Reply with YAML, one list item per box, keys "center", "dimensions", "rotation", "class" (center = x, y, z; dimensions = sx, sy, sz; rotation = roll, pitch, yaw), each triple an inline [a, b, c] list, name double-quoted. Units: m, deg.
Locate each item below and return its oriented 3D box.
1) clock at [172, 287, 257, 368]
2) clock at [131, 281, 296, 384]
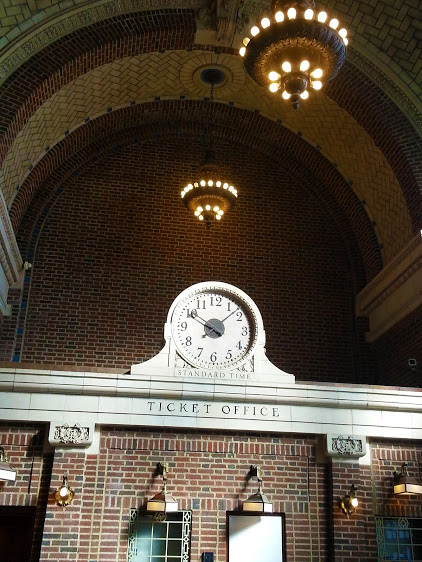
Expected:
- center: [0.043, 0.830, 9.964]
  dimensions: [1.230, 1.207, 0.126]
  rotation: [7, -22, -7]
  class: "clock"
- center: [-0.088, 0.940, 10.444]
  dimensions: [2.151, 1.496, 0.171]
  rotation: [7, -41, -9]
  class: "clock"
